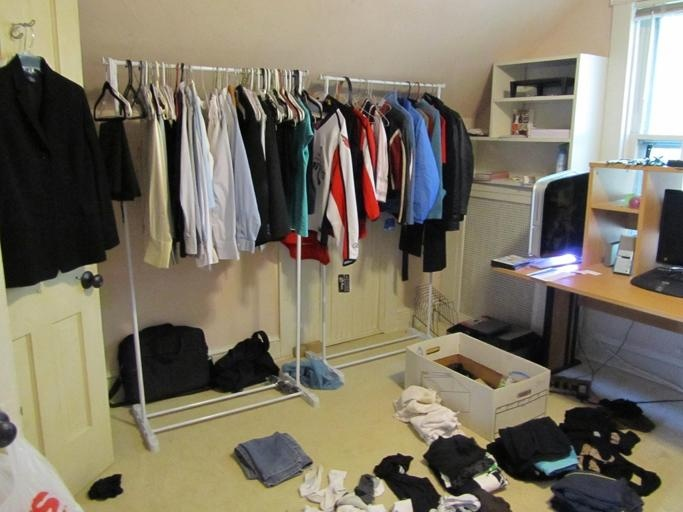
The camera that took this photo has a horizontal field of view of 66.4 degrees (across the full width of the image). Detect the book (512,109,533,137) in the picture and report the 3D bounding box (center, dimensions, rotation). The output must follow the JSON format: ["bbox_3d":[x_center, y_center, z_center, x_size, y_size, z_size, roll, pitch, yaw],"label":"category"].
[{"bbox_3d":[1.395,-1.023,4.027,0.147,0.231,0.056,5,-3,30],"label":"book"}]

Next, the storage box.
[{"bbox_3d":[0.850,0.823,3.358,0.514,0.345,0.752,-5,8,-34],"label":"storage box"}]

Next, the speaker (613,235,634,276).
[{"bbox_3d":[1.874,-0.010,3.433,0.112,0.255,0.131,9,21,37],"label":"speaker"}]

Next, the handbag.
[{"bbox_3d":[-0.996,0.736,3.525,0.736,0.264,0.569,-9,6,-34],"label":"handbag"}]

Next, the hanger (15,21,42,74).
[{"bbox_3d":[-1.378,-0.917,2.305,0.038,0.228,0.112,4,18,24],"label":"hanger"}]
